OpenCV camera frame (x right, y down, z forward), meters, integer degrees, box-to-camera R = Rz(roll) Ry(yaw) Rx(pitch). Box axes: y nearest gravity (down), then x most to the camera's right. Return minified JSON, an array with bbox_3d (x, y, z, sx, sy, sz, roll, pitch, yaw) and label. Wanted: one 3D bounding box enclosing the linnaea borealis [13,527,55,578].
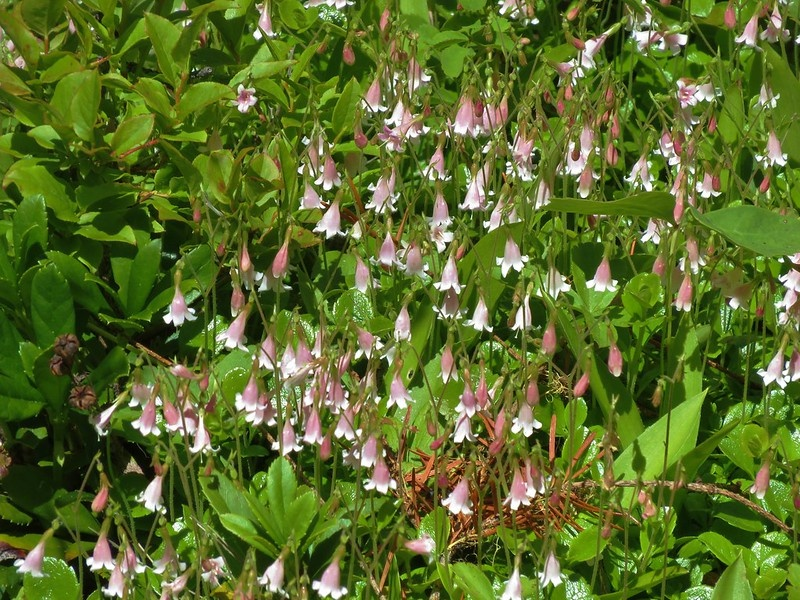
[{"bbox_3d":[-1.330,0.927,3.718,0.117,0.220,0.140,17,28,-31],"label":"linnaea borealis"}]
